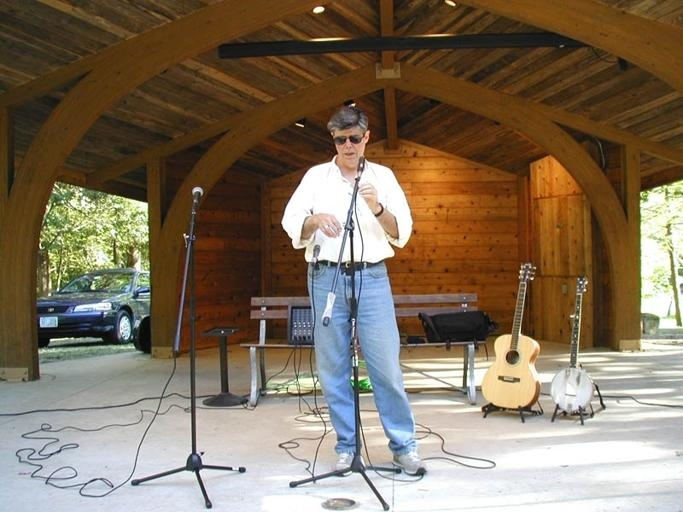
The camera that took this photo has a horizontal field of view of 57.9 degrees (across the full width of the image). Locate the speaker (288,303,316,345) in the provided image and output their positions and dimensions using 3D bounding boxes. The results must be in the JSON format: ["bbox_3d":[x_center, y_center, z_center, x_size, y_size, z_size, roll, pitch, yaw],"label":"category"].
[{"bbox_3d":[-0.384,0.669,5.862,0.327,0.410,0.167,2,-7,-2],"label":"speaker"}]

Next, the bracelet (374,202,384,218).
[{"bbox_3d":[0.235,-0.286,3.921,0.058,0.075,0.040,-7,-13,12],"label":"bracelet"}]

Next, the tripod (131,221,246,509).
[{"bbox_3d":[-1.482,0.731,5.597,0.747,1.825,3.838,0,-3,-18],"label":"tripod"}]

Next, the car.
[{"bbox_3d":[-4.236,0.851,11.181,1.826,1.192,2.987,0,-3,8],"label":"car"}]

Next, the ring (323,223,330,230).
[{"bbox_3d":[-0.100,-0.177,3.851,0.043,0.039,0.015,-2,-3,24],"label":"ring"}]

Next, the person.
[{"bbox_3d":[0.077,0.125,4.297,1.135,2.593,0.827,0,-1,-2],"label":"person"}]

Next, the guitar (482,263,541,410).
[{"bbox_3d":[1.595,0.758,5.526,0.364,1.343,0.524,19,-13,-42],"label":"guitar"}]
